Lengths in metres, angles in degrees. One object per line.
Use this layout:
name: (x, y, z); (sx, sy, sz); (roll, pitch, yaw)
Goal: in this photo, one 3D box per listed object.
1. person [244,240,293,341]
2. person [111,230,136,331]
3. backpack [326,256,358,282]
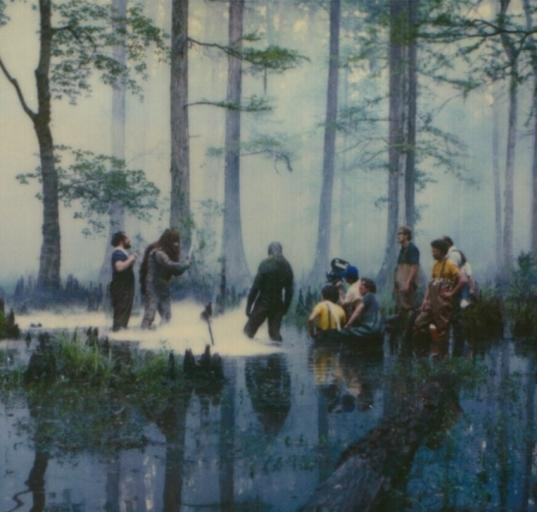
person: (0.024, 0.774, 28.989); (0.707, 2.347, 0.505); (8, 20, -1)
person: (-2.499, 0.472, 28.834); (0.465, 1.656, 1.224); (0, -4, -5)
backpack: (1.340, 0.216, 29.548); (0.617, 0.725, 0.241); (0, -43, -3)
